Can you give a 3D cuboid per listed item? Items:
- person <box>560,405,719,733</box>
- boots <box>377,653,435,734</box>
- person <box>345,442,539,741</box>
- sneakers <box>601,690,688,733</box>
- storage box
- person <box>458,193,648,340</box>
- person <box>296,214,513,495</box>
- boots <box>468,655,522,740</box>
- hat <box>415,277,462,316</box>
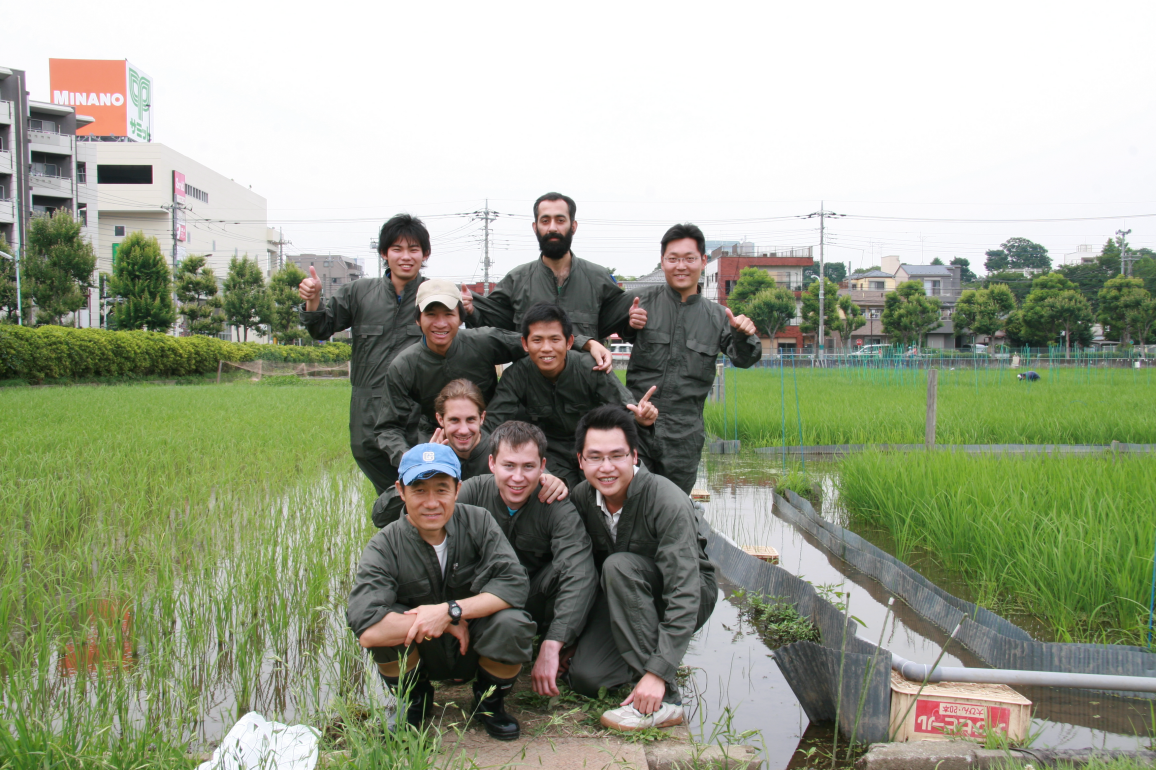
[{"bbox_3d":[0.425,1.167,6.434,0.978,2.008,1.010,2,4,11],"label":"person"},{"bbox_3d":[-1.120,1.954,5.954,0.247,0.460,0.400,7,-30,-10],"label":"boots"},{"bbox_3d":[-0.961,1.328,6.207,1.142,1.705,1.000,-5,7,-24],"label":"person"},{"bbox_3d":[0.432,2.111,6.132,0.523,0.204,0.189,3,-9,-11],"label":"sneakers"},{"bbox_3d":[2.425,2.070,6.021,0.852,0.372,0.471,2,4,11],"label":"storage box"},{"bbox_3d":[-0.198,-0.746,7.643,1.644,1.270,0.526,-2,9,-4],"label":"person"},{"bbox_3d":[-1.053,-0.073,7.589,1.644,1.466,0.731,-22,19,-28],"label":"person"},{"bbox_3d":[-0.529,2.063,6.146,0.192,0.414,0.425,4,13,-42],"label":"boots"},{"bbox_3d":[-1.084,-0.679,7.312,0.325,0.251,0.277,1,4,-6],"label":"hat"}]
